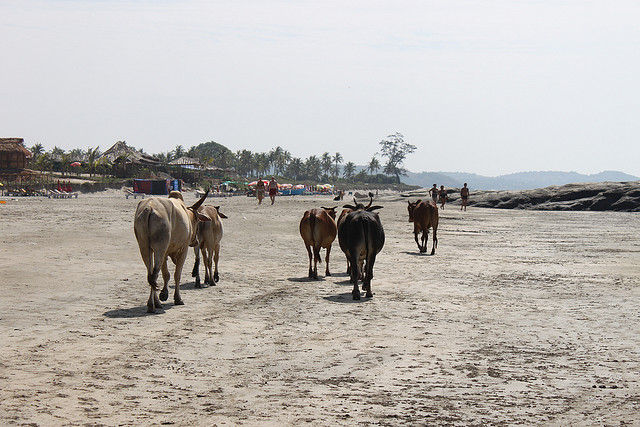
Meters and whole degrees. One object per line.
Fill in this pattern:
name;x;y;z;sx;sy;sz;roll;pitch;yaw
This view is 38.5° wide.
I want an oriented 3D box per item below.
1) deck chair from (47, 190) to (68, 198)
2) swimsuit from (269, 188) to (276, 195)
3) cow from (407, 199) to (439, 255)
deck chair;-22.388;-1.663;77.504;0.790;0.423;1.374;0;-4;-42
swimsuit;-3.095;-1.470;59.418;0.360;0.499;0.520;-1;1;11
cow;3.612;0.450;31.968;0.962;1.725;2.896;2;15;6
